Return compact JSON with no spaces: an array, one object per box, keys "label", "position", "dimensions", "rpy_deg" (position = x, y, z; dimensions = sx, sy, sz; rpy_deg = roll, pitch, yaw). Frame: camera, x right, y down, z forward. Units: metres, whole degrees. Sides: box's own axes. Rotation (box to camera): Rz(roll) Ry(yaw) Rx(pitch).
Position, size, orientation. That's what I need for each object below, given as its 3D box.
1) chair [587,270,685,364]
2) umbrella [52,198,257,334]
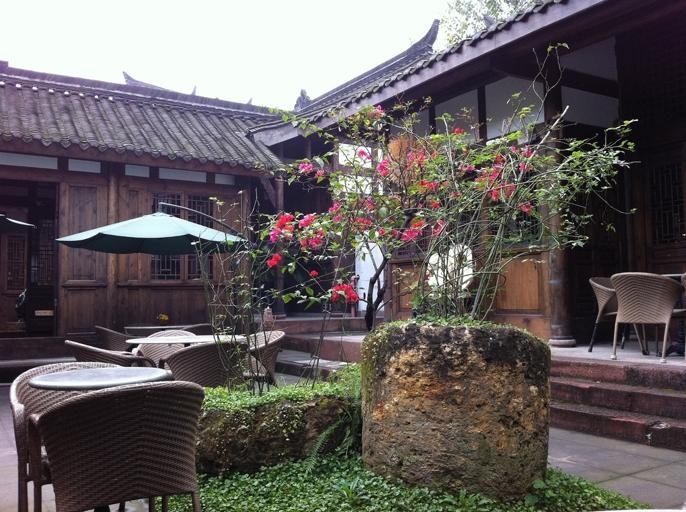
[{"label":"chair","position":[2.948,0.591,6.066],"dimensions":[0.856,0.880,0.913],"rpy_deg":[-2,-3,42]},{"label":"umbrella","position":[-2.184,0.047,7.044],"dimensions":[1.364,0.762,1.527],"rpy_deg":[5,-3,21]}]
